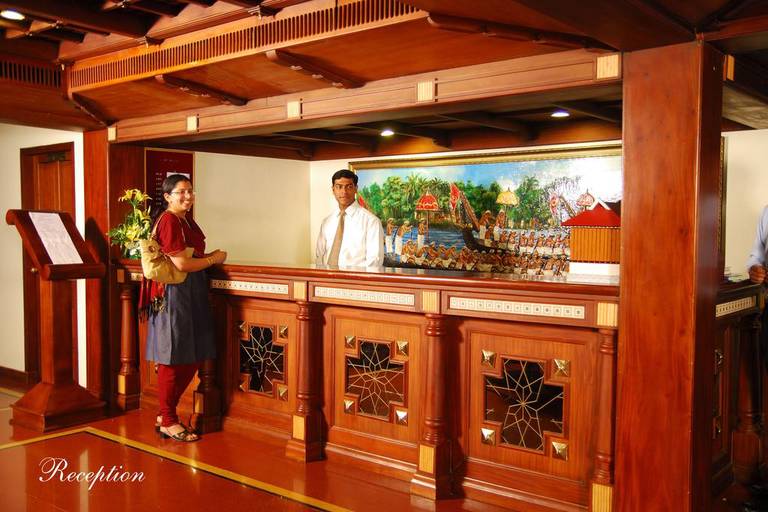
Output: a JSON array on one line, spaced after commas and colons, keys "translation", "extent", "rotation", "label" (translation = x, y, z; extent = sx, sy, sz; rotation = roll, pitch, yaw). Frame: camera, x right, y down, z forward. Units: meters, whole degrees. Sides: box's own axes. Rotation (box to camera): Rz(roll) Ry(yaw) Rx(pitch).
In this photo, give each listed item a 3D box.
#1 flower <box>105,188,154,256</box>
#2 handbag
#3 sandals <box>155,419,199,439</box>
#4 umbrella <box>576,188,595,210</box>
[{"translation": [-2.519, -0.387, 6.156], "extent": [0.403, 0.574, 0.386], "rotation": [-4, -14, -42], "label": "flower"}, {"translation": [-1.973, -0.075, 5.489], "extent": [0.578, 0.752, 0.377], "rotation": [10, 13, 23], "label": "handbag"}, {"translation": [-1.965, 1.635, 5.649], "extent": [0.370, 0.112, 0.165], "rotation": [3, 4, 21], "label": "sandals"}, {"translation": [2.321, -0.658, 6.947], "extent": [0.099, 0.233, 0.201], "rotation": [-9, 12, -42], "label": "umbrella"}]
